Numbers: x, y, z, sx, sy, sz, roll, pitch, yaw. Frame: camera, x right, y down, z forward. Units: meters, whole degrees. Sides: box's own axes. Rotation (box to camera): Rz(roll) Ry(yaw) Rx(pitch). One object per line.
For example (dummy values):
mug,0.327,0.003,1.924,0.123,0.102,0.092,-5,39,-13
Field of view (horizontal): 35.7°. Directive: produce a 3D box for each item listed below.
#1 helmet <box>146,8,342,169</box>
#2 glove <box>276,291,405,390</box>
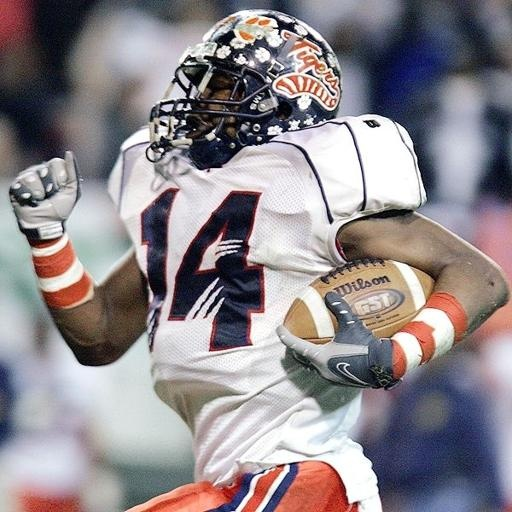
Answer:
helmet,-0.059,-0.396,1.850,0.518,0.303,0.380,-9,19,-42
glove,0.163,0.180,1.519,0.134,0.148,0.212,-31,52,-24
